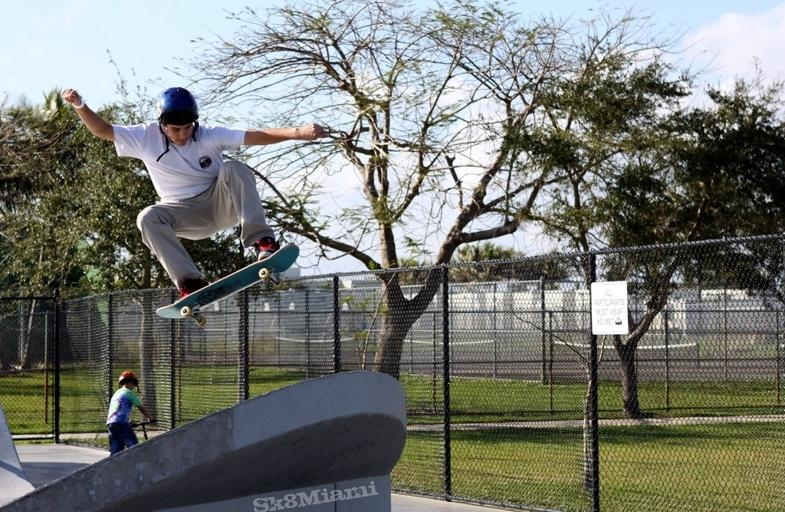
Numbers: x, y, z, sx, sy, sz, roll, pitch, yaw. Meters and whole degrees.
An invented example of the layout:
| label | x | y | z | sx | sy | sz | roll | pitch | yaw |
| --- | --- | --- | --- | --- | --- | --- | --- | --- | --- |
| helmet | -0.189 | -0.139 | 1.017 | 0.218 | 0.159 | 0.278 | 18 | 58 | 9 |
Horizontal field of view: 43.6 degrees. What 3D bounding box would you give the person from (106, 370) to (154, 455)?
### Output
| label | x | y | z | sx | sy | sz | roll | pitch | yaw |
| --- | --- | --- | --- | --- | --- | --- | --- | --- | --- |
| person | -5.703 | 3.378 | 21.108 | 0.862 | 1.743 | 1.245 | 0 | -4 | -9 |
